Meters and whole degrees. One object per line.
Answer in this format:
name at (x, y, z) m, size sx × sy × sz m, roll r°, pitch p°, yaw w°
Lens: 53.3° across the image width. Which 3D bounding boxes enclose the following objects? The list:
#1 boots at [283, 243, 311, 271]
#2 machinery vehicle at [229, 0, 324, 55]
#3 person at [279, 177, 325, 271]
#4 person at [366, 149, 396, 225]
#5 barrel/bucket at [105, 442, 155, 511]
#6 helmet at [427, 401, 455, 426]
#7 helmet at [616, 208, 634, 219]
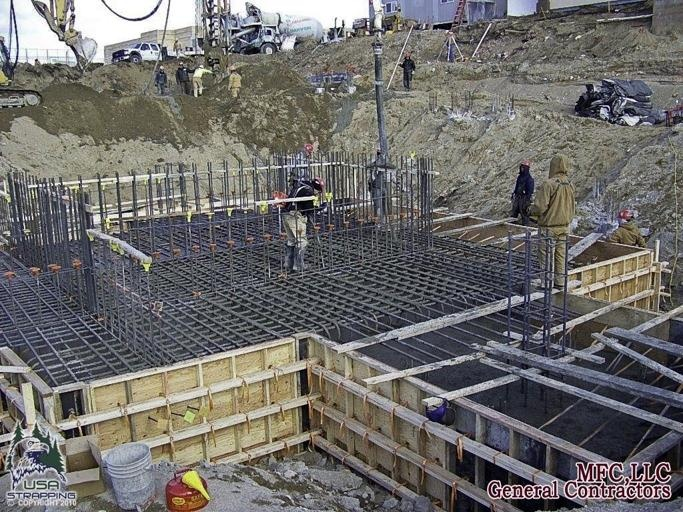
boots at (-0.719, -0.018, 11.158) m, size 0.372 × 0.435 × 0.385 m, roll 11°, pitch 23°, yaw 26°
machinery vehicle at (-3.217, -11.708, 35.259) m, size 1.329 × 2.292 × 6.937 m, roll 9°, pitch 20°, yaw 33°
person at (-0.633, -0.545, 11.057) m, size 0.657 × 1.518 × 1.163 m, roll -3°, pitch 16°, yaw -3°
person at (0.782, -1.312, 13.120) m, size 0.661 × 1.423 × 0.547 m, roll 1°, pitch 3°, yaw 3°
barrel/bucket at (-1.988, 2.116, 6.643) m, size 0.553 × 0.478 × 0.518 m, roll -1°, pitch 15°, yaw 0°
helmet at (1.050, 1.661, 7.228) m, size 0.228 × 0.226 × 0.311 m, roll -4°, pitch 6°, yaw -29°
helmet at (5.086, -0.764, 12.217) m, size 0.210 × 0.156 × 0.285 m, roll -17°, pitch 18°, yaw 22°
